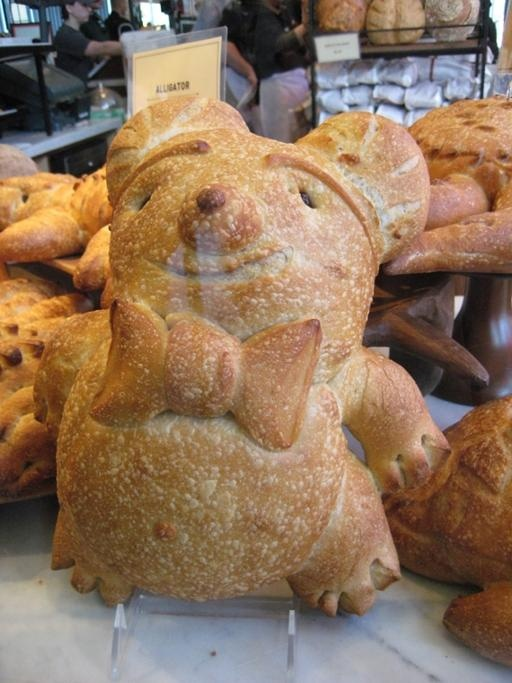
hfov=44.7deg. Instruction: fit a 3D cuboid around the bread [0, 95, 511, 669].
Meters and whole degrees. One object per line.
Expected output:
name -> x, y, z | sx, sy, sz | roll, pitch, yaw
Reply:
bread -> -0.023, 0.024, 0.653 | 0.504, 0.493, 0.405 | -13, 33, -20
